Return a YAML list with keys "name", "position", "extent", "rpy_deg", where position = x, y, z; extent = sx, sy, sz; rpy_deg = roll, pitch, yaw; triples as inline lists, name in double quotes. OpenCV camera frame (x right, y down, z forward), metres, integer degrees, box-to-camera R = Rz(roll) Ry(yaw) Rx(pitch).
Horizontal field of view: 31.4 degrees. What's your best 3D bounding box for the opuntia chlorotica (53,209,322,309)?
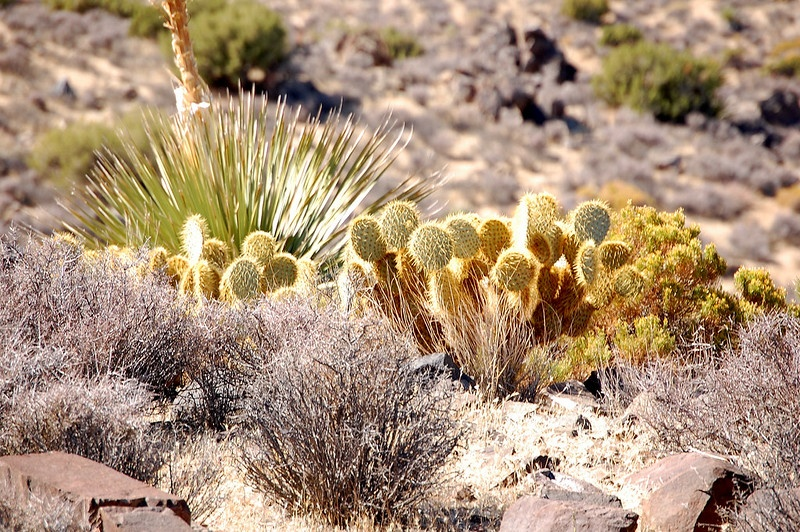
- name: "opuntia chlorotica"
  position: [-3.464, 0.103, 27.817]
  extent: [3.649, 2.100, 2.354]
  rpy_deg: [4, 4, 0]
